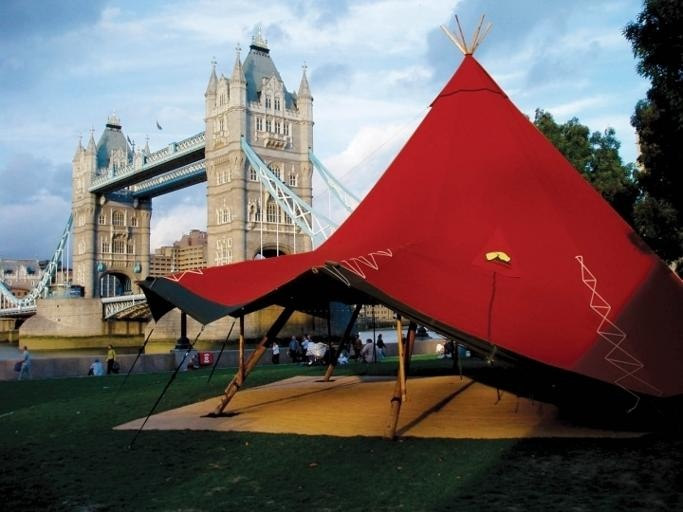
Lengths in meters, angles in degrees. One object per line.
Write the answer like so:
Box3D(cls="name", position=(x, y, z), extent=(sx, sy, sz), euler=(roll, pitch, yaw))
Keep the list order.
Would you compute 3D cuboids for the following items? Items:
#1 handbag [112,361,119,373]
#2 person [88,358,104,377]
Box3D(cls="handbag", position=(-8.129, 4.035, 28.642), extent=(0.312, 0.328, 0.304), euler=(0, -1, 20))
Box3D(cls="person", position=(-8.732, 3.987, 28.298), extent=(0.677, 0.690, 0.550), euler=(2, -4, -17))
